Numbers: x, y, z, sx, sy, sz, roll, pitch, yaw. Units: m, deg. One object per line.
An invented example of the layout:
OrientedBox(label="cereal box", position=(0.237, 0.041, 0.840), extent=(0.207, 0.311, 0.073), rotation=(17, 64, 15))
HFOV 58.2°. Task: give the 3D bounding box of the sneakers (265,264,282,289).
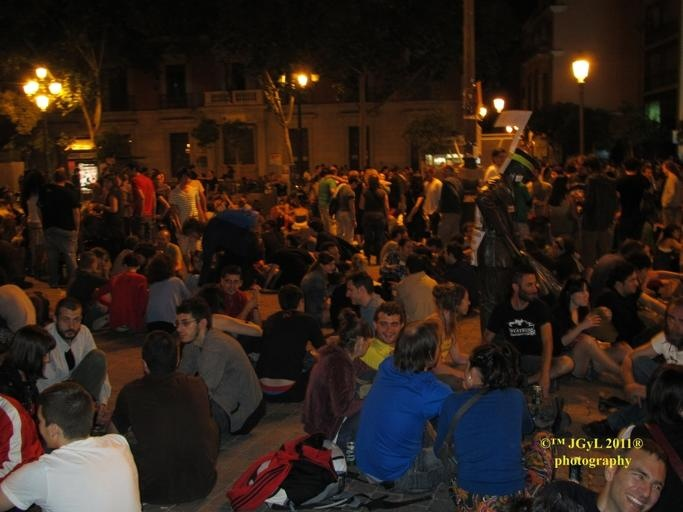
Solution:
OrientedBox(label="sneakers", position=(-1.352, 0.373, 12.137), extent=(0.233, 0.437, 0.250), rotation=(32, 26, 13))

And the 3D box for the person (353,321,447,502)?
OrientedBox(label="person", position=(0.510, 1.317, 5.231), extent=(0.754, 1.482, 0.382), rotation=(0, 4, 0))
